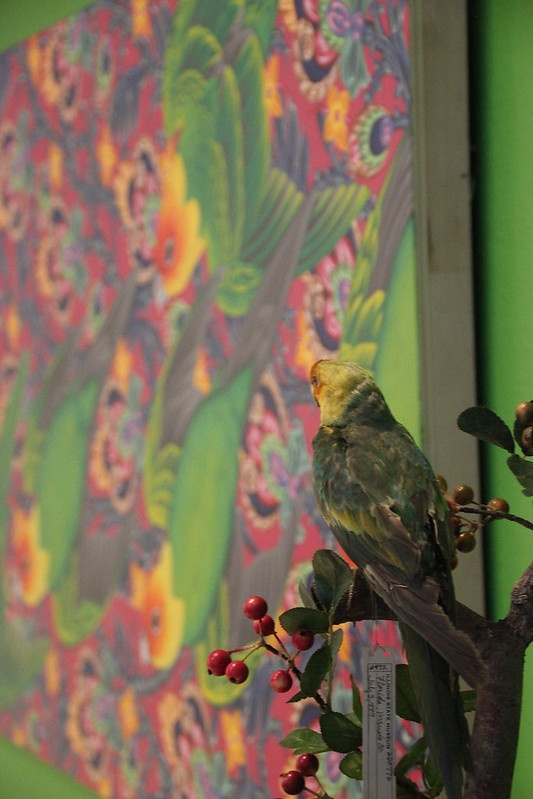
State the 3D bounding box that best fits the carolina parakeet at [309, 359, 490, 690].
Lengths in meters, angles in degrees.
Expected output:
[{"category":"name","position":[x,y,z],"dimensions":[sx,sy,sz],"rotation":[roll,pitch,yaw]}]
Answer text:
[{"category":"carolina parakeet","position":[0.120,0.115,1.364],"dimensions":[0.114,0.338,0.266],"rotation":[2,-6,-29]}]
